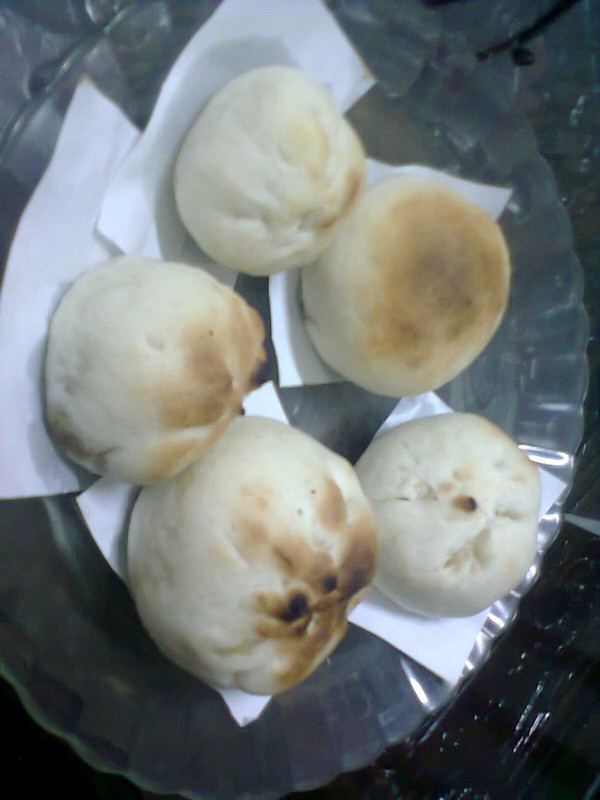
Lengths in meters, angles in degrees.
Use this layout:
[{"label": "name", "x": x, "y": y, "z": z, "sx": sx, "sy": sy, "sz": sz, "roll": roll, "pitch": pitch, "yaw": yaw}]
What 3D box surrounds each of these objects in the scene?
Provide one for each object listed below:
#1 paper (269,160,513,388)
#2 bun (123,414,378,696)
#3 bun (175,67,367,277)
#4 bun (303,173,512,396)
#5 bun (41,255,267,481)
[{"label": "paper", "x": 0.066, "y": -0.115, "z": 0.853, "sx": 0.250, "sy": 0.043, "sz": 0.204, "roll": 2, "pitch": 96, "yaw": -32}, {"label": "bun", "x": -0.063, "y": 0.115, "z": 0.784, "sx": 0.238, "sy": 0.070, "sz": 0.202, "roll": -18, "pitch": 96, "yaw": -23}, {"label": "bun", "x": -0.025, "y": -0.188, "z": 0.769, "sx": 0.151, "sy": 0.098, "sz": 0.160, "roll": 20, "pitch": 84, "yaw": 3}, {"label": "bun", "x": 0.073, "y": -0.098, "z": 0.876, "sx": 0.215, "sy": 0.101, "sz": 0.170, "roll": -11, "pitch": 95, "yaw": -17}, {"label": "bun", "x": -0.125, "y": -0.026, "z": 0.727, "sx": 0.164, "sy": 0.072, "sz": 0.175, "roll": 27, "pitch": 84, "yaw": 4}]
